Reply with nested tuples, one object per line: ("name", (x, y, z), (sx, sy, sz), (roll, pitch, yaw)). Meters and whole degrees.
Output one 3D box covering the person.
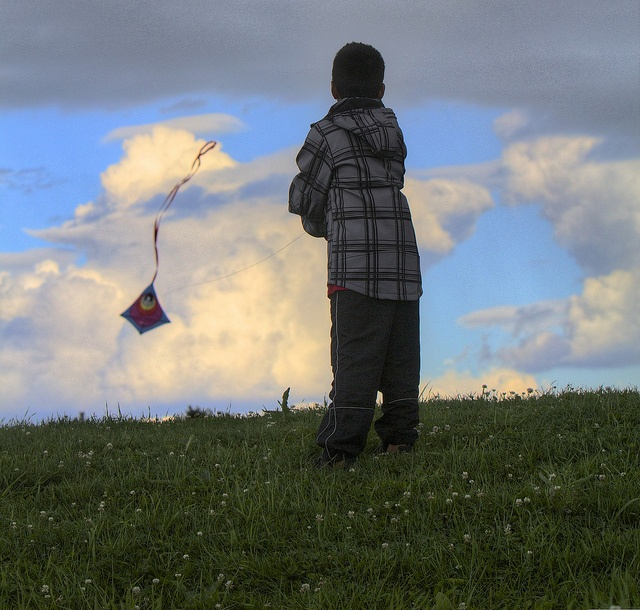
("person", (0.255, -0.194, 7.582), (0.884, 2.514, 0.573), (-1, 2, 3))
